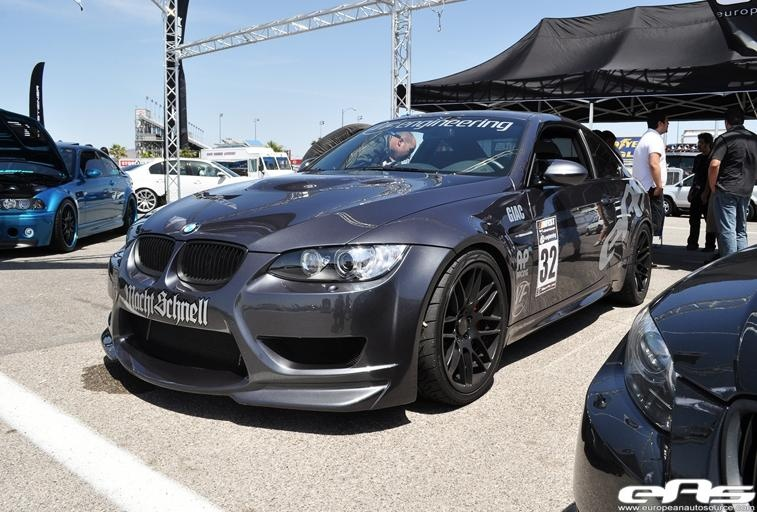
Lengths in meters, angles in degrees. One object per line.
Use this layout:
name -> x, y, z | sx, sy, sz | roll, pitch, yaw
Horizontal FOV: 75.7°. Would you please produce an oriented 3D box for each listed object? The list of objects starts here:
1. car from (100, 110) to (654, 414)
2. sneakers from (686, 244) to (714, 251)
car -> 0.572, -0.181, 3.852 | 1.967, 1.332, 4.129 | 2, 3, 42
sneakers -> 6.284, -0.111, 9.442 | 0.496, 0.204, 0.150 | -5, 12, -10
